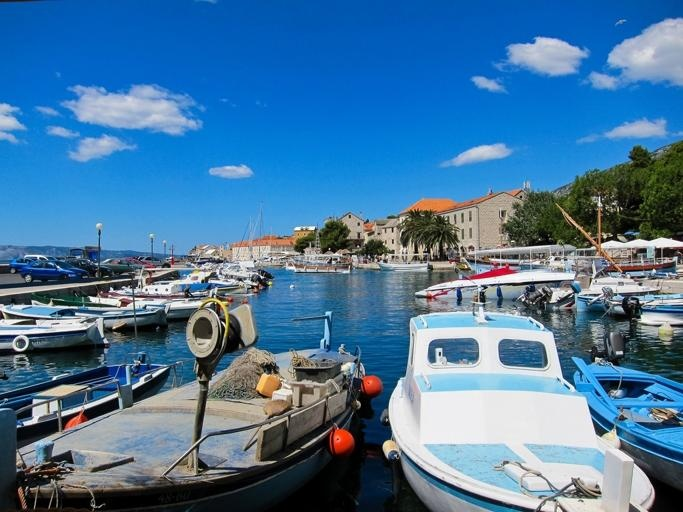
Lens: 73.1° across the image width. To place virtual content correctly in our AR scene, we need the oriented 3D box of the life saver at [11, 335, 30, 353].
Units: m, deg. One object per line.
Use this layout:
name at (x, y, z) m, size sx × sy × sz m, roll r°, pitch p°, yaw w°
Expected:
life saver at (-12.772, 3.454, 18.170) m, size 0.804 × 0.591 × 0.169 m, roll 0°, pitch 8°, yaw -11°
